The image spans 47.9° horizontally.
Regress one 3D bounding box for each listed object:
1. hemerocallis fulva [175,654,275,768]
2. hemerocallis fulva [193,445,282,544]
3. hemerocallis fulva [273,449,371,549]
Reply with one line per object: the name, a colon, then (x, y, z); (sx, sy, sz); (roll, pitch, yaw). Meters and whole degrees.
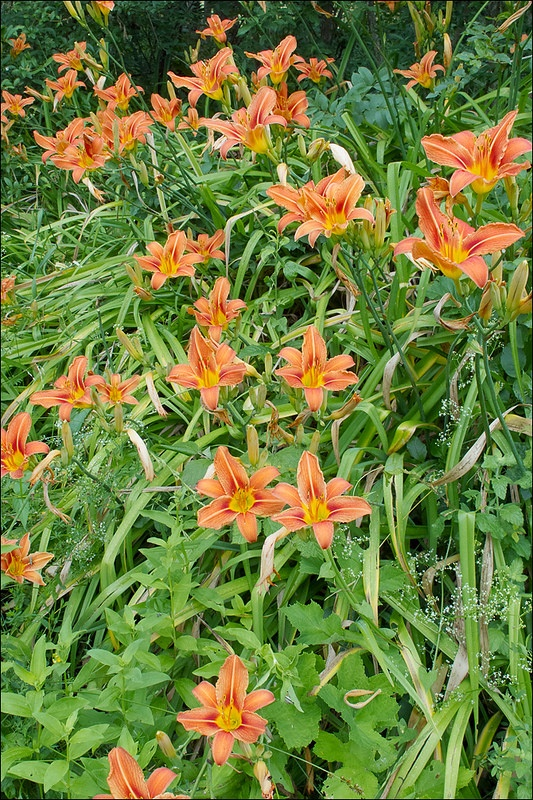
hemerocallis fulva: (-0.061, 0.444, 0.868); (0.133, 0.086, 0.172); (-9, 78, 13)
hemerocallis fulva: (-0.040, 0.148, 0.978); (0.151, 0.165, 0.067); (5, 95, 36)
hemerocallis fulva: (0.089, 0.161, 0.935); (0.137, 0.083, 0.156); (-29, 84, 8)
